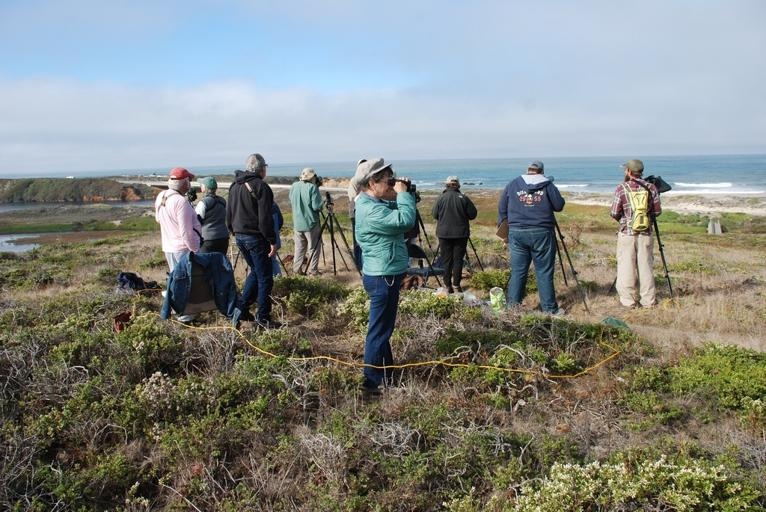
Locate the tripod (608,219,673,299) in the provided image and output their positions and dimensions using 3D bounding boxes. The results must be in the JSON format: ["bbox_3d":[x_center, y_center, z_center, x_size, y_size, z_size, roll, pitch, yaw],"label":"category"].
[{"bbox_3d":[5.244,0.104,11.397,1.217,2.552,0.720,-18,21,-34],"label":"tripod"}]

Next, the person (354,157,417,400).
[{"bbox_3d":[0.045,0.248,7.745,0.808,3.141,0.659,-3,10,-3],"label":"person"}]

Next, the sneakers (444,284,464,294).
[{"bbox_3d":[1.439,0.685,11.456,0.411,0.188,0.149,4,0,-5],"label":"sneakers"}]

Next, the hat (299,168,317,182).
[{"bbox_3d":[-1.648,-1.779,12.312,0.329,0.287,0.390,-6,11,-20],"label":"hat"}]

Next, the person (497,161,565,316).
[{"bbox_3d":[2.658,-0.211,10.045,1.057,2.447,0.680,1,10,21],"label":"person"}]

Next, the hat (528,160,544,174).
[{"bbox_3d":[2.847,-1.611,10.075,0.314,0.241,0.523,9,14,27],"label":"hat"}]

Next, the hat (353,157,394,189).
[{"bbox_3d":[-0.193,-1.116,7.571,0.550,0.380,0.358,8,14,44],"label":"hat"}]

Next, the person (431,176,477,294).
[{"bbox_3d":[1.448,-0.420,11.314,0.874,2.329,1.168,-1,10,5],"label":"person"}]

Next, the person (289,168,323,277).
[{"bbox_3d":[-1.692,-0.708,12.565,0.771,2.479,1.320,-4,10,-10],"label":"person"}]

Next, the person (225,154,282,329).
[{"bbox_3d":[-2.093,-0.234,9.099,1.057,2.768,0.688,7,13,43],"label":"person"}]

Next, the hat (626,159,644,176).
[{"bbox_3d":[4.593,-1.608,10.228,0.278,0.306,0.557,2,11,23],"label":"hat"}]

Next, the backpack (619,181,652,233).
[{"bbox_3d":[4.579,-0.871,10.107,0.490,0.911,0.307,2,11,24],"label":"backpack"}]

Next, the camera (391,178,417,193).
[{"bbox_3d":[0.288,-0.979,7.624,0.329,0.139,0.339,2,11,6],"label":"camera"}]
